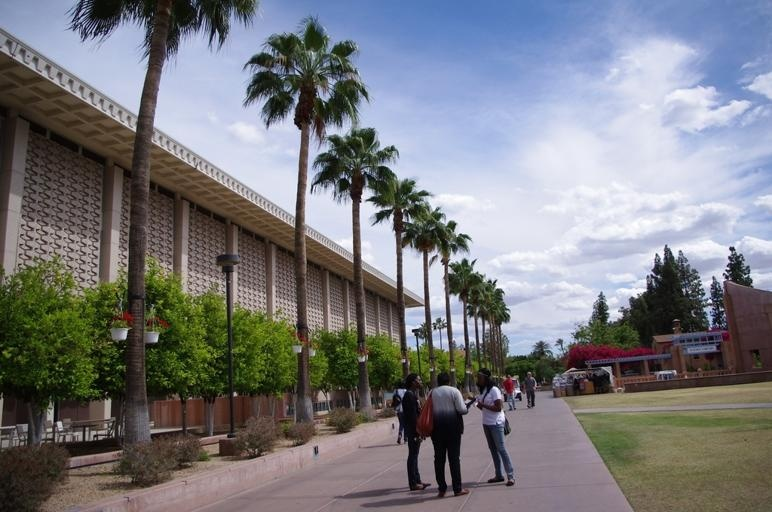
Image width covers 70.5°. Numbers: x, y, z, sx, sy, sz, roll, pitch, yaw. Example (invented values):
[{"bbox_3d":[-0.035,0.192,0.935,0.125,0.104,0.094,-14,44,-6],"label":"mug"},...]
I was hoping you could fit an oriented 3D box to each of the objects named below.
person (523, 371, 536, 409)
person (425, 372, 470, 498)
[{"bbox_3d":[8.738,8.158,33.046,0.546,2.088,1.466,-9,-17,13],"label":"person"},{"bbox_3d":[1.618,4.585,14.088,0.906,2.969,1.329,-6,-16,4],"label":"person"}]
